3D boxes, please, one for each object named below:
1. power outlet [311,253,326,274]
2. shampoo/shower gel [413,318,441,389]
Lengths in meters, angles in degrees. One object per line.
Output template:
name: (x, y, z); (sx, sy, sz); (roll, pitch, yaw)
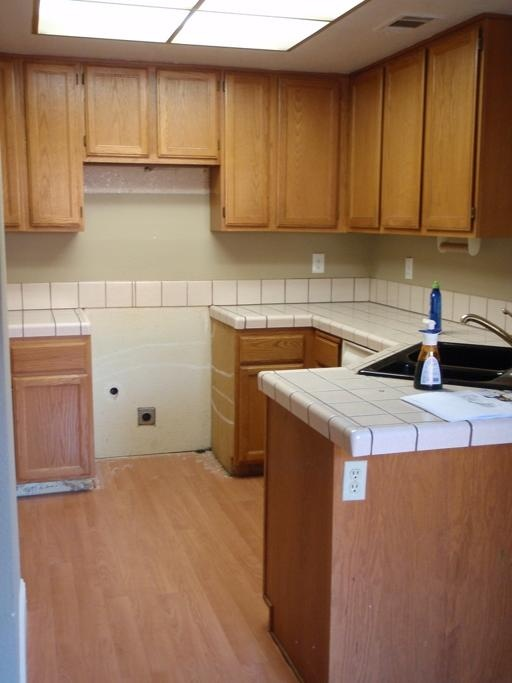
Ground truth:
power outlet: (0.425, -0.551, 3.859); (0.121, 0.192, 0.008); (-1, 4, -21)
shampoo/shower gel: (0.528, 0.032, 1.694); (0.081, 0.214, 0.208); (3, 9, 19)
